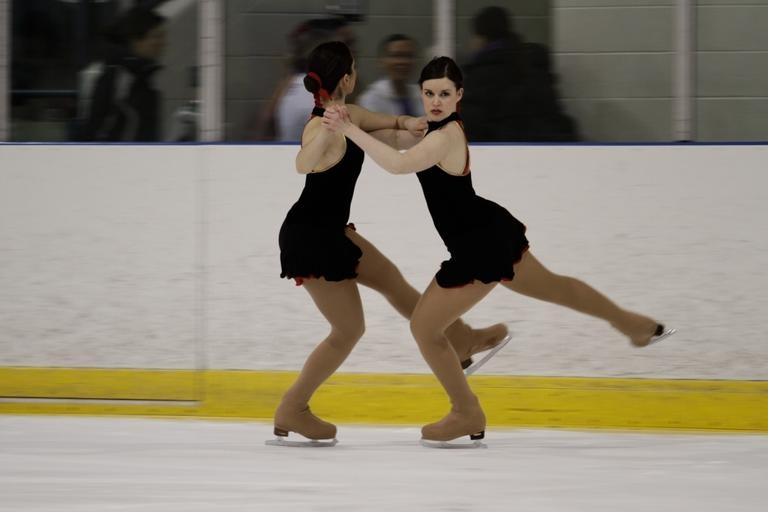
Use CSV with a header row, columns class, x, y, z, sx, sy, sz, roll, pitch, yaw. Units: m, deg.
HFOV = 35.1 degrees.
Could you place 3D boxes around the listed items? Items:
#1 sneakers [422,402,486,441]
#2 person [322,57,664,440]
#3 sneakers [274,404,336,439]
class,x,y,z,sx,sy,sz,roll,pitch,yaw
sneakers,0.366,0.916,6.770,0.455,0.170,0.202,-2,11,-29
person,0.569,-0.016,6.707,1.825,2.138,0.416,1,9,-22
sneakers,-0.476,0.936,6.817,0.440,0.151,0.154,14,-13,-35
